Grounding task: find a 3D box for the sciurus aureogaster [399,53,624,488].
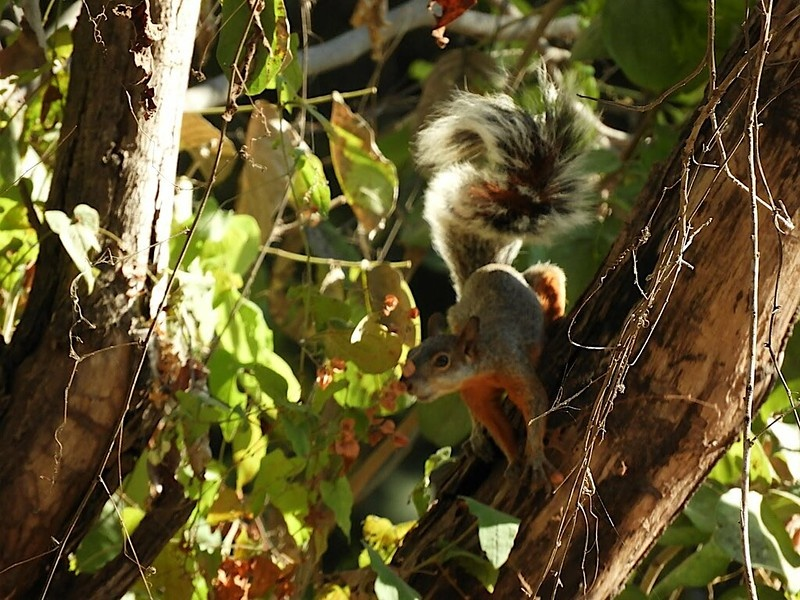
[{"bbox_3d":[0.163,-0.010,2.023,0.188,0.659,0.664,1,36,29],"label":"sciurus aureogaster"}]
